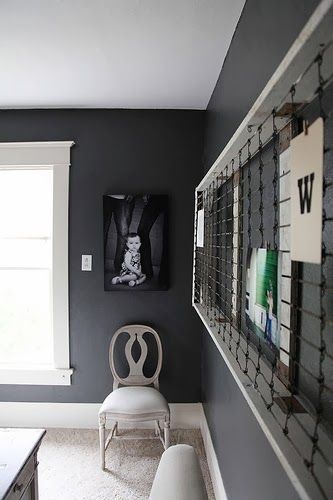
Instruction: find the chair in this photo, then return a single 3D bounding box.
[{"bbox_3d":[-0.206,0.906,2.349,0.405,0.745,0.602,0,2,-5],"label":"chair"}]
